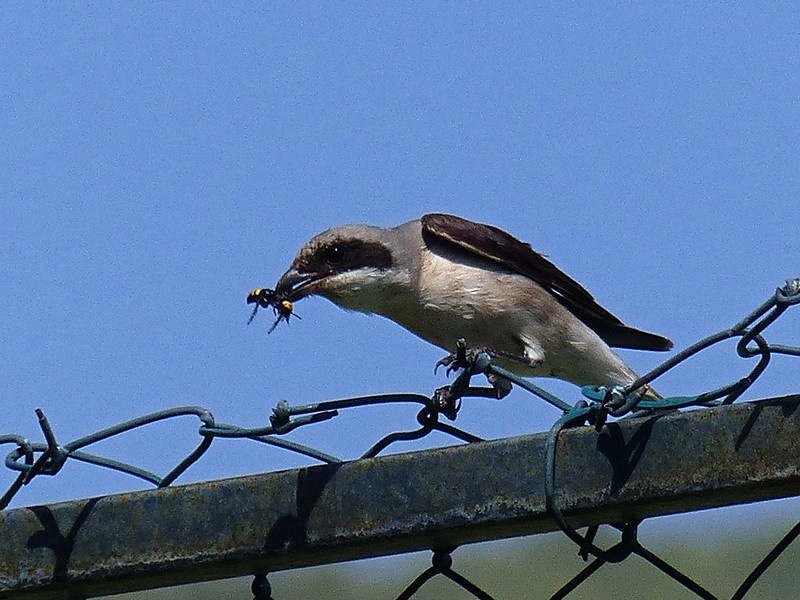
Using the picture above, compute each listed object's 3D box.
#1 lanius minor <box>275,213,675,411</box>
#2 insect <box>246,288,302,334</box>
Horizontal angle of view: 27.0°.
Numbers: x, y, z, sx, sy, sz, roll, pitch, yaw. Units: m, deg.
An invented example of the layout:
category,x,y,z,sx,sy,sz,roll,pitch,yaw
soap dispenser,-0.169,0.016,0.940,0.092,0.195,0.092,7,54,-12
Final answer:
category,x,y,z,sx,sy,sz,roll,pitch,yaw
lanius minor,0.430,0.077,4.924,1.496,0.597,0.448,2,-29,-17
insect,-0.274,0.009,3.633,0.046,0.084,0.087,-68,-21,-3
